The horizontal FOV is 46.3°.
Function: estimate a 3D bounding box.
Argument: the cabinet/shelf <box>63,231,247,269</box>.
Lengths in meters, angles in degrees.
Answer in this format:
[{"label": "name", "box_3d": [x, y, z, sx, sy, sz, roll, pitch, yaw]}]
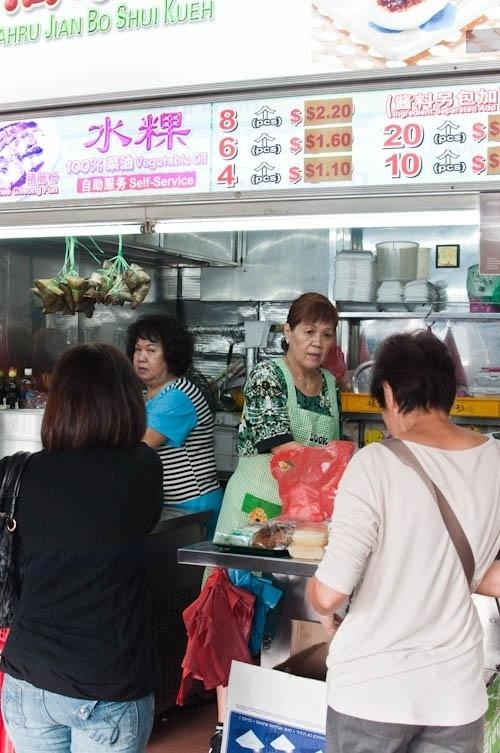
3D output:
[{"label": "cabinet/shelf", "box_3d": [-0.860, -1.067, 5.101, 0.631, 0.172, 1.921, -1, 5, 21]}]

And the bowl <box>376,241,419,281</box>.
[{"label": "bowl", "box_3d": [1.138, -0.886, 4.524, 0.333, 0.317, 0.224, -3, 5, 6]}]

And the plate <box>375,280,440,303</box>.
[{"label": "plate", "box_3d": [1.196, -0.656, 4.484, 0.485, 0.185, 0.251, -3, 5, 2]}]
